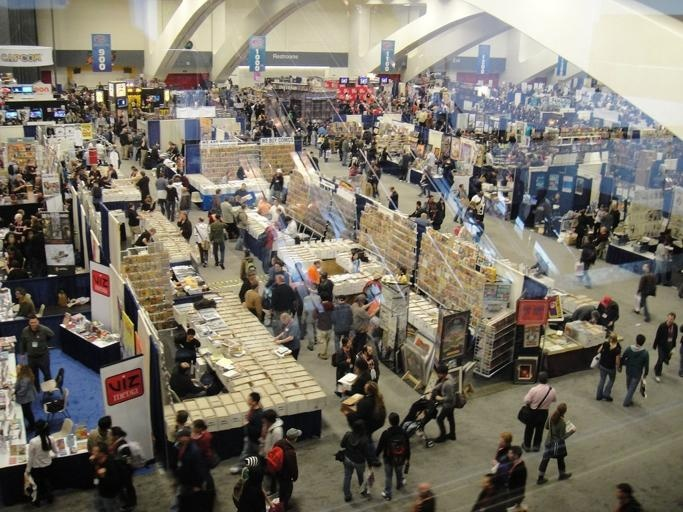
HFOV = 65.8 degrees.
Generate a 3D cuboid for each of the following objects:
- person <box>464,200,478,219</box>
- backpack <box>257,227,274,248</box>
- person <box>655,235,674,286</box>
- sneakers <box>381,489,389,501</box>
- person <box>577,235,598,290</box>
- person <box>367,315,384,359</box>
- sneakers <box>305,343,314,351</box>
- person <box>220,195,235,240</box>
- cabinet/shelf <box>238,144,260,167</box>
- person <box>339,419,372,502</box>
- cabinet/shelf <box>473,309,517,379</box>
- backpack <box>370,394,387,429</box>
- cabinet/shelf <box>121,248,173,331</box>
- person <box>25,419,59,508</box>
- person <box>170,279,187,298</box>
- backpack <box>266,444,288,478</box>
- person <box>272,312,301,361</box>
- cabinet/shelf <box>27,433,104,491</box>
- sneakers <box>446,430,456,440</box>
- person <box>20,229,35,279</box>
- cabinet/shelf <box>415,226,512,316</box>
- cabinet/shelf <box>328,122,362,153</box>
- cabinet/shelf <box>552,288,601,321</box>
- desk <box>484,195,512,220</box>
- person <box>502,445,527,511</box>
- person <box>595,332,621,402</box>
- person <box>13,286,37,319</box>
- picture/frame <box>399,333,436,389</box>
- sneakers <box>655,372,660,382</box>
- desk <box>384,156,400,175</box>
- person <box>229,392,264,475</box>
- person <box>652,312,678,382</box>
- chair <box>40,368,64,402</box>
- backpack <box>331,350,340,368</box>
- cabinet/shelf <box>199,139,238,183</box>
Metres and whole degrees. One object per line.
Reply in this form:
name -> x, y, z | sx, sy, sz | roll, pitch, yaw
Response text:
person -> 4.519, -1.597, 18.429 | 0.301, 0.286, 0.730 | 7, -5, -7
backpack -> -2.158, -0.518, 14.973 | 0.254, 0.454, 0.463 | 8, 16, -32
person -> 8.979, 0.127, 14.688 | 0.487, 1.356, 1.118 | 11, 18, 32
sneakers -> 0.627, 3.468, 7.678 | 0.070, 0.060, 0.137 | 15, 30, -36
person -> 6.876, 0.226, 14.717 | 0.355, 1.242, 0.561 | 14, 20, 40
person -> 0.654, 1.604, 10.365 | 0.239, 0.280, 0.911 | -9, -23, 4
sneakers -> -0.704, 1.965, 11.523 | 0.088, 0.172, 0.179 | -5, 27, -19
person -> -3.507, -1.198, 16.616 | 0.447, 1.351, 0.461 | 12, 22, 36
cabinet/shelf -> -3.749, -3.997, 21.459 | 0.803, 1.066, 1.075 | -4, 17, -9
person -> 0.204, 2.851, 7.624 | 0.442, 1.345, 0.466 | 6, 16, 17
cabinet/shelf -> 3.148, 1.712, 10.794 | 0.413, 1.096, 1.132 | 15, 23, 38
backpack -> 0.502, 2.363, 8.050 | 0.199, 0.451, 0.328 | 2, -9, 19
cabinet/shelf -> -4.193, 0.677, 11.520 | 0.984, 1.861, 0.459 | -3, 16, -17
person -> -4.279, 2.874, 7.497 | 0.417, 1.299, 0.355 | -9, 18, -33
person -> -3.715, 0.759, 12.060 | 0.253, 0.281, 0.825 | -6, 21, -20
backpack -> -0.867, 2.701, 6.995 | 0.169, 0.321, 0.230 | 6, -21, -1
person -> -1.068, 1.723, 10.379 | 0.522, 1.283, 0.484 | -4, 16, -16
cabinet/shelf -> -4.031, 2.924, 7.847 | 1.010, 0.629, 0.998 | -5, 15, -27
sneakers -> 1.850, 3.027, 8.975 | 0.159, 0.156, 0.088 | -4, 15, -6
person -> -8.225, -0.150, 13.709 | 0.292, 1.114, 0.304 | -2, -11, 1
cabinet/shelf -> 2.479, 0.366, 12.432 | 0.577, 1.753, 3.082 | 4, 16, -28
cabinet/shelf -> 0.230, -6.350, 28.379 | 2.153, 2.148, 1.149 | 2, 26, 2
cabinet/shelf -> 5.386, 1.219, 12.152 | 0.866, 0.230, 0.947 | -2, 27, -18
desk -> 5.938, -1.871, 19.934 | 0.394, 0.657, 0.755 | -17, 27, -32
person -> 2.312, 2.975, 6.997 | 0.250, 0.857, 0.391 | 7, 16, 20
person -> 5.082, 2.094, 10.077 | 0.382, 1.343, 0.576 | 9, 17, 28
person -> -6.643, 0.977, 11.053 | 0.293, 0.717, 0.325 | 9, 25, -10
picture/frame -> 1.487, 2.058, 10.220 | 0.583, 0.776, 0.712 | -14, 29, -24
sneakers -> 6.502, 2.513, 10.860 | 0.054, 0.111, 0.164 | -2, 5, 12
desk -> 2.610, -4.360, 25.815 | 1.022, 0.762, 1.041 | 11, 18, 30
person -> -1.358, 2.632, 7.879 | 0.492, 1.267, 0.454 | 3, 14, -6
person -> 6.624, 1.800, 10.833 | 0.360, 1.485, 0.938 | 11, 18, 33
chair -> -5.291, 2.379, 9.647 | 0.409, 0.561, 0.363 | -3, 47, -35
backpack -> -0.099, 1.902, 9.664 | 0.119, 0.365, 0.290 | 1, 15, -3
cabinet/shelf -> -4.814, -3.802, 21.594 | 1.493, 1.530, 1.157 | 1, 0, 6
